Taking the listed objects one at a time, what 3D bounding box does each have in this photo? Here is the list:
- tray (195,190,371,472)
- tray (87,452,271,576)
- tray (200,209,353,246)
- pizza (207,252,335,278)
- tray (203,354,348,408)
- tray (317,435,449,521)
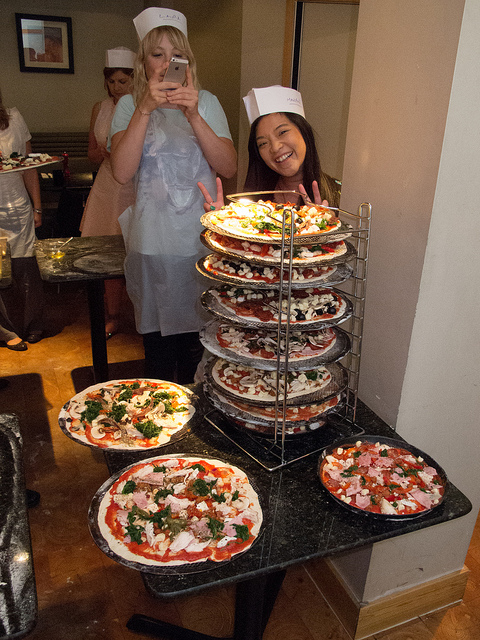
[{"bbox_3d":[0.093,0.007,1.108,0.348,0.492,0.319,0,19,11],"label":"tray"},{"bbox_3d":[-0.101,0.317,0.848,0.266,0.037,0.290,12,23,22],"label":"tray"},{"bbox_3d":[0.069,-0.189,1.010,0.148,0.008,0.142,-9,30,-20],"label":"tray"},{"bbox_3d":[0.045,-0.108,1.020,0.125,0.014,0.121,-6,29,-21],"label":"pizza"},{"bbox_3d":[0.083,0.119,1.242,0.310,0.025,0.320,-1,3,37],"label":"tray"},{"bbox_3d":[0.282,0.293,0.954,0.224,0.039,0.238,9,16,13],"label":"tray"}]
